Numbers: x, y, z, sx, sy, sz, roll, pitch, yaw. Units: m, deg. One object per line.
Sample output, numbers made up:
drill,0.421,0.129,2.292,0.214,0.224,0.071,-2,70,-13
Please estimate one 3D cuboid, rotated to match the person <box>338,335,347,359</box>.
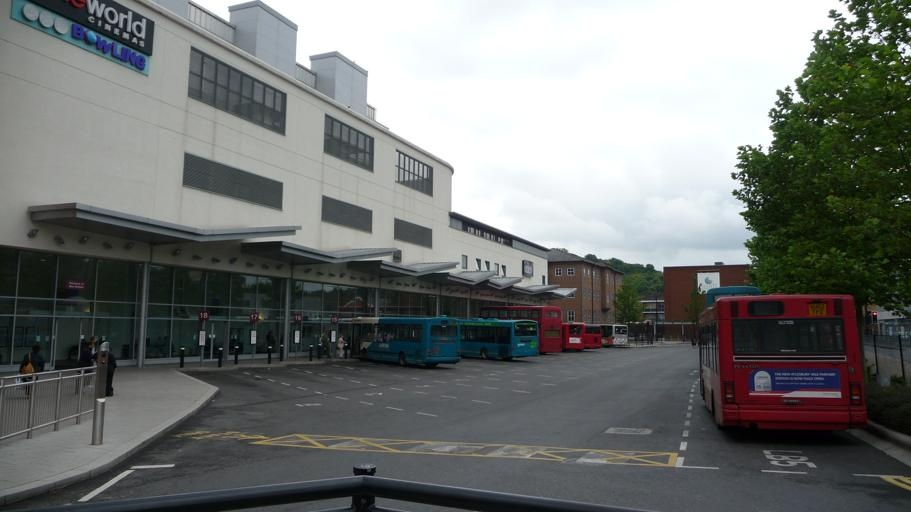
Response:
person,-9.363,7.513,53.090,0.664,1.778,1.390,1,-11,-13
